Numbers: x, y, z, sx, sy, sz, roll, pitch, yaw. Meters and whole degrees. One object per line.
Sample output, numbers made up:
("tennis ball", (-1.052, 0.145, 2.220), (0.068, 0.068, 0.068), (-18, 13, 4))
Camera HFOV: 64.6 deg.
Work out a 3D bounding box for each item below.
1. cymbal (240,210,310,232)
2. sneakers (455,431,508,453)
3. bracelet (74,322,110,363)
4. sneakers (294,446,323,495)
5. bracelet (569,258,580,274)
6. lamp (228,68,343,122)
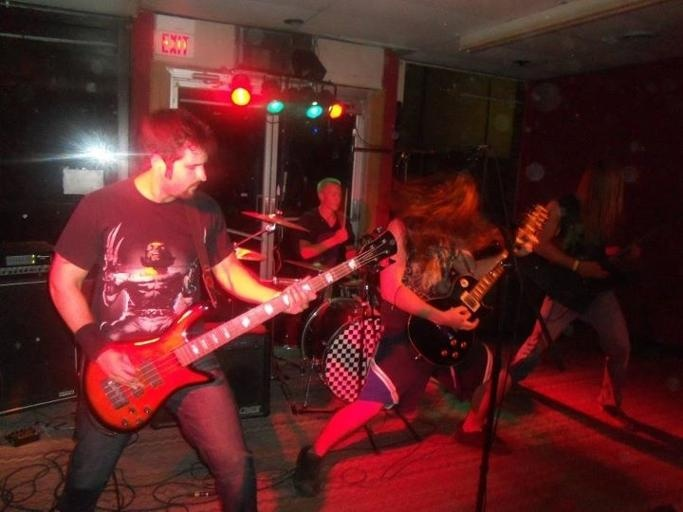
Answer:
("cymbal", (-0.556, -0.319, 5.047), (0.396, 0.099, 0.424), (9, 7, 16))
("sneakers", (1.173, 1.540, 4.519), (0.330, 0.222, 0.098), (7, 8, 24))
("bracelet", (-1.404, 0.492, 3.056), (0.202, 0.217, 0.112), (11, 18, 41))
("sneakers", (-0.249, 1.574, 3.912), (0.178, 0.240, 0.345), (5, -8, -3))
("bracelet", (2.050, 0.084, 4.735), (0.085, 0.119, 0.046), (5, 15, 25))
("lamp", (-0.656, -1.751, 6.322), (1.256, 0.469, 0.778), (2, 7, -26))
